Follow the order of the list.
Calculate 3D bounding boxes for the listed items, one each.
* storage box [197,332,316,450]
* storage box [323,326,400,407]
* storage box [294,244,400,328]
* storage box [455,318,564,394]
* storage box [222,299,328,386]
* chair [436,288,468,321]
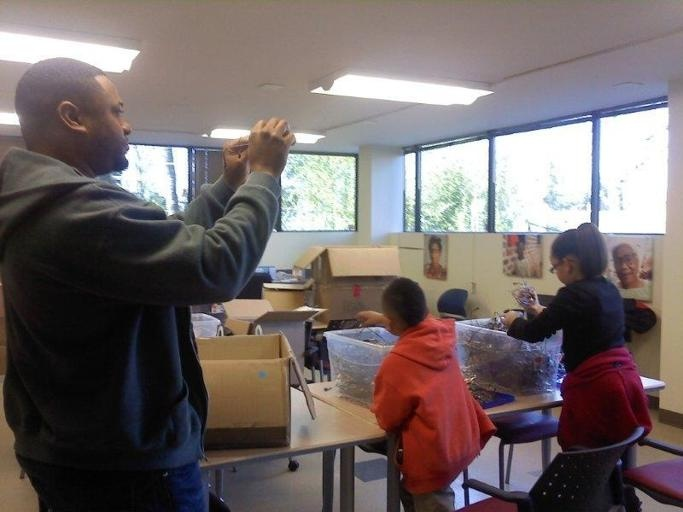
[{"bbox_3d":[-0.323,0.499,2.104,0.423,0.281,0.427,3,-3,-18],"label":"storage box"},{"bbox_3d":[0.100,0.504,2.589,0.262,0.234,0.375,0,-4,28],"label":"storage box"},{"bbox_3d":[-0.030,0.256,4.605,0.979,0.706,0.684,1,2,-33],"label":"storage box"},{"bbox_3d":[0.825,0.451,2.716,0.400,0.242,0.400,0,1,-30],"label":"storage box"},{"bbox_3d":[-0.422,0.611,3.382,0.451,0.234,0.728,0,-2,-22],"label":"storage box"},{"bbox_3d":[1.221,0.515,6.064,0.315,0.416,0.380,-3,-5,31],"label":"chair"}]
